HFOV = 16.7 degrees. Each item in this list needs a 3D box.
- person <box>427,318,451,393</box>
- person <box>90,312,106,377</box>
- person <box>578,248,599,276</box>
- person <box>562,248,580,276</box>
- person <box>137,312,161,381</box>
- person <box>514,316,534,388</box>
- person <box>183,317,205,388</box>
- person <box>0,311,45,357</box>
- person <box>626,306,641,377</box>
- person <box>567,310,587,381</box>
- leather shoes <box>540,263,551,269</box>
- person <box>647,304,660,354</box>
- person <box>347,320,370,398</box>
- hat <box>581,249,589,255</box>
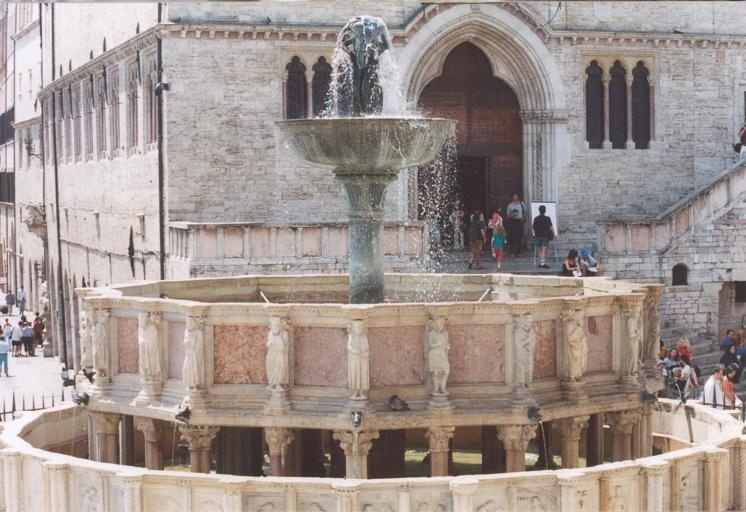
[{"bbox_3d":[1.587,2.387,61.788,0.549,1.888,0.265,-1,-3,1],"label":"person"},{"bbox_3d":[-6.782,2.138,62.590,0.379,1.675,0.191,-1,-3,-11],"label":"person"},{"bbox_3d":[6.378,0.164,75.037,0.463,0.846,0.623,-11,-39,2],"label":"person"},{"bbox_3d":[5.596,0.140,71.334,0.533,0.785,1.445,-2,-3,4],"label":"person"},{"bbox_3d":[-5.513,2.199,62.226,0.544,1.745,0.240,-1,-3,-4],"label":"person"},{"bbox_3d":[3.683,2.251,61.900,0.509,1.748,0.240,-2,-3,3],"label":"person"},{"bbox_3d":[-4.420,2.317,61.878,0.518,1.745,0.218,-1,-3,-12],"label":"person"},{"bbox_3d":[-12.336,2.872,90.322,1.412,1.412,0.866,2,-5,-24],"label":"person"},{"bbox_3d":[6.464,1.975,62.874,0.343,1.708,0.438,8,27,18],"label":"person"},{"bbox_3d":[5.011,2.156,62.255,0.554,1.683,0.253,0,-3,-25],"label":"person"},{"bbox_3d":[5.281,0.254,77.586,0.378,0.241,0.125,-9,15,-40],"label":"leather shoes"},{"bbox_3d":[7.019,1.758,63.360,0.354,1.212,0.145,0,-3,-16],"label":"person"},{"bbox_3d":[-0.380,2.468,61.636,0.531,1.918,0.287,-1,-3,-1],"label":"person"},{"bbox_3d":[6.282,-0.185,75.057,0.211,0.173,0.297,1,-8,5],"label":"hat"}]
